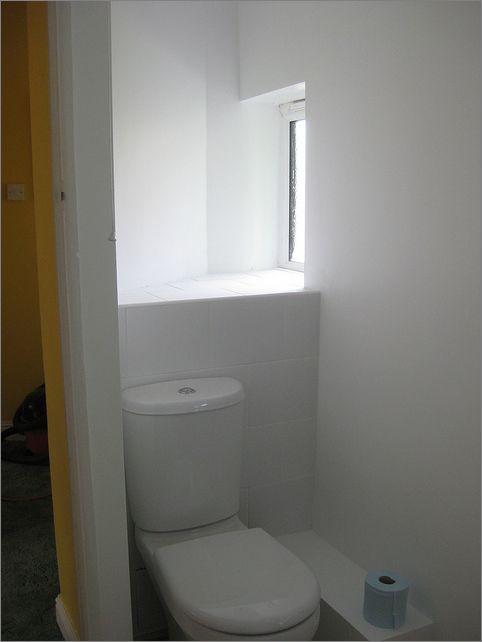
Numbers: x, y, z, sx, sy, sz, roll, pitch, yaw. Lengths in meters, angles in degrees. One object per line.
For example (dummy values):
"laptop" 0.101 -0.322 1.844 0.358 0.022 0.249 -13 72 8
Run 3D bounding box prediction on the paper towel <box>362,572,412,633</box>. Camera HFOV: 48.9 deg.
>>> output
"paper towel" 0.344 0.667 1.254 0.079 0.118 0.104 -1 8 -16

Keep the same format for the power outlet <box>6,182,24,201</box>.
"power outlet" -1.065 -0.615 2.496 0.051 0.083 0.009 -1 3 -11
